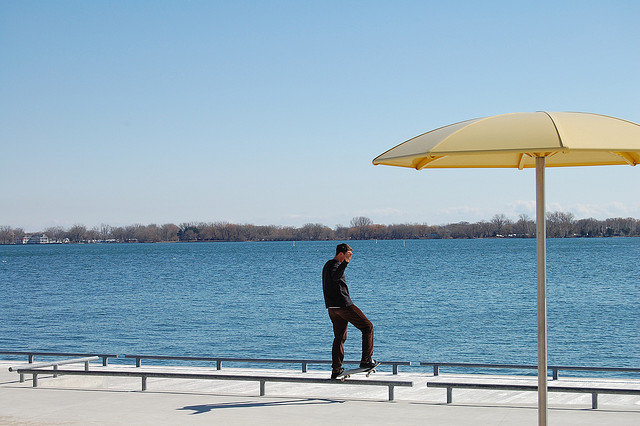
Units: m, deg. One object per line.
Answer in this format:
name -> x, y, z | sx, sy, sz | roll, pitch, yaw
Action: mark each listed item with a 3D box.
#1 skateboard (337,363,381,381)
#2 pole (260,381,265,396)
skateboard -> 1.550, 5.690, 31.714 | 1.936, 0.237, 0.429 | -9, 2, -27
pole -> -2.057, 6.245, 31.860 | 0.170, 0.516, 0.503 | -2, -5, -5
